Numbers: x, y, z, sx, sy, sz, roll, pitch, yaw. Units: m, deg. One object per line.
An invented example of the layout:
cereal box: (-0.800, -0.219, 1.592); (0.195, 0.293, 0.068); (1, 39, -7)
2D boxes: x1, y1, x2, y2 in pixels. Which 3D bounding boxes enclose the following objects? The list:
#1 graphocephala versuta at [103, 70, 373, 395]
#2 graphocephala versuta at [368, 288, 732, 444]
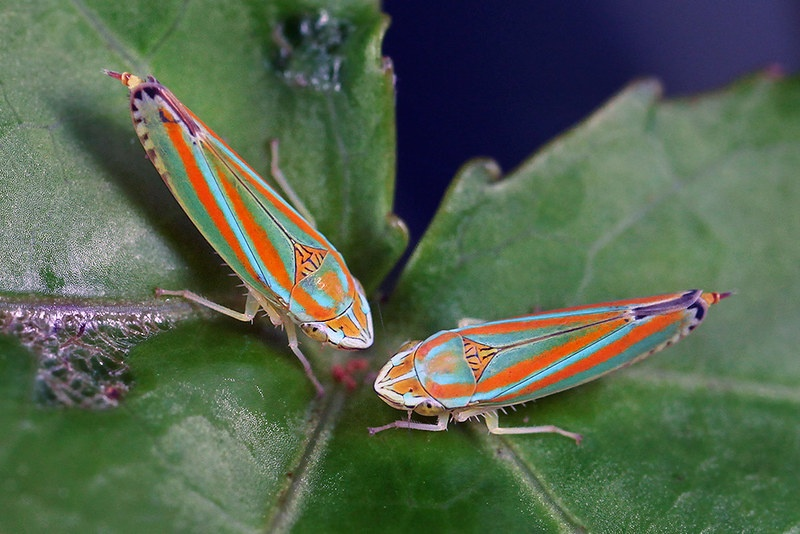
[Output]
graphocephala versuta: (-0.706, -0.251, 4.146); (0.563, 0.898, 1.504); (-31, 79, -5)
graphocephala versuta: (0.668, 0.419, 4.165); (1.606, 0.541, 0.433); (-12, 78, -1)
